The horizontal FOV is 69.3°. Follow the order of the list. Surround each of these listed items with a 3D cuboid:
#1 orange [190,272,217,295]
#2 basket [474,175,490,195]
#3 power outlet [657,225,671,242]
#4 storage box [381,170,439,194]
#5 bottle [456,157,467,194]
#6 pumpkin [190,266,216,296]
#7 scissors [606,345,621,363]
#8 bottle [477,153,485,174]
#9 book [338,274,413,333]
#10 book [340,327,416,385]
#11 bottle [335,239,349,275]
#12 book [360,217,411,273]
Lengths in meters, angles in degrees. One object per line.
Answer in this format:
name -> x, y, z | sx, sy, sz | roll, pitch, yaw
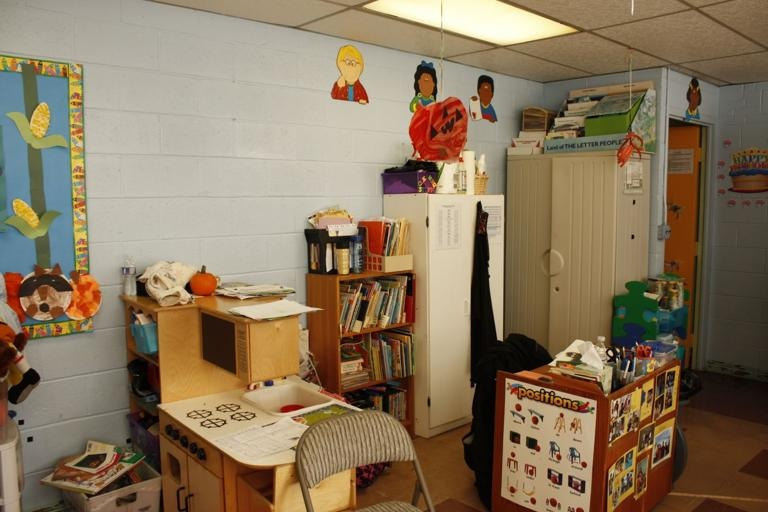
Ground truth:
orange -> -1.359, 0.181, 4.241 | 0.171, 0.160, 0.174 | -12, 13, -40
basket -> 1.052, -0.731, 5.686 | 0.231, 0.211, 0.231 | 0, 3, 20
power outlet -> 3.137, -0.268, 6.225 | 0.068, 0.193, 0.289 | 7, 12, 41
storage box -> 0.254, -0.705, 5.271 | 0.496, 0.211, 0.191 | -1, 9, 3
bottle -> 0.766, -0.808, 5.532 | 0.108, 0.340, 0.100 | -1, 9, 0
pumpkin -> -1.350, 0.190, 4.233 | 0.181, 0.214, 0.189 | 0, 4, 31
scissors -> 1.609, 0.687, 3.894 | 0.080, 0.105, 0.036 | 6, -13, 18
bottle -> 0.998, -0.945, 5.726 | 0.077, 0.196, 0.250 | 0, 9, 5
book -> -0.081, 0.431, 4.975 | 0.766, 0.483, 0.456 | -4, 5, -42
book -> -0.024, 0.915, 5.063 | 0.692, 0.418, 0.465 | 1, -1, -38
bottle -> -0.348, -0.005, 4.880 | 0.148, 0.305, 0.126 | -4, 10, -19
book -> -0.030, -0.118, 5.284 | 0.467, 0.558, 0.572 | -9, 8, -40
